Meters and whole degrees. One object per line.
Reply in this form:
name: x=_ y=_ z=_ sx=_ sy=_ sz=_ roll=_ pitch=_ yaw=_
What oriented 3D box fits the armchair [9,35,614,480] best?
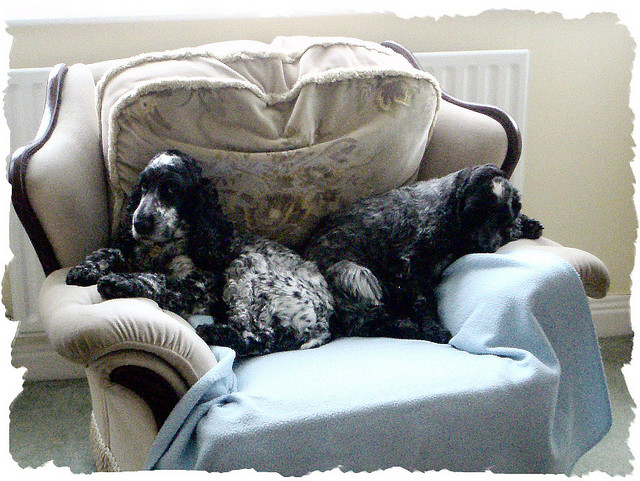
armchair: x=-0.095 y=0.034 z=2.718 sx=1.740 sy=1.645 sz=1.671 roll=-2 pitch=12 yaw=-9

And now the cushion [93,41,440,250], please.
cushion: x=-0.136 y=-0.364 z=2.335 sx=1.046 sy=0.673 sz=0.521 roll=-6 pitch=17 yaw=-25

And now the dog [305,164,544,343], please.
dog: x=0.346 y=0.035 z=2.436 sx=0.781 sy=0.568 sz=0.504 roll=1 pitch=10 yaw=13

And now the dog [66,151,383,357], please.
dog: x=-0.264 y=0.034 z=2.306 sx=0.932 sy=0.540 sz=0.747 roll=7 pitch=6 yaw=-30
